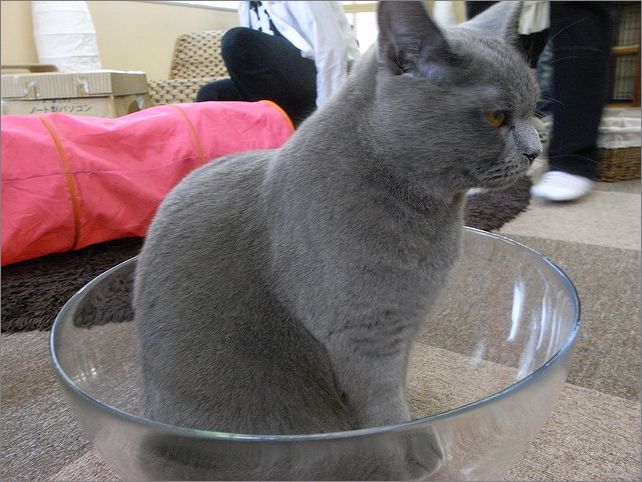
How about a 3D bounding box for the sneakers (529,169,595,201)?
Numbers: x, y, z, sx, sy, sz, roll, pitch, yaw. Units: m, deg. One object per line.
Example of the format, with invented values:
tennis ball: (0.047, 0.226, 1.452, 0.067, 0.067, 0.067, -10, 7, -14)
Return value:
sneakers: (0.717, -0.167, 1.516, 0.173, 0.058, 0.085, -3, 1, 9)
